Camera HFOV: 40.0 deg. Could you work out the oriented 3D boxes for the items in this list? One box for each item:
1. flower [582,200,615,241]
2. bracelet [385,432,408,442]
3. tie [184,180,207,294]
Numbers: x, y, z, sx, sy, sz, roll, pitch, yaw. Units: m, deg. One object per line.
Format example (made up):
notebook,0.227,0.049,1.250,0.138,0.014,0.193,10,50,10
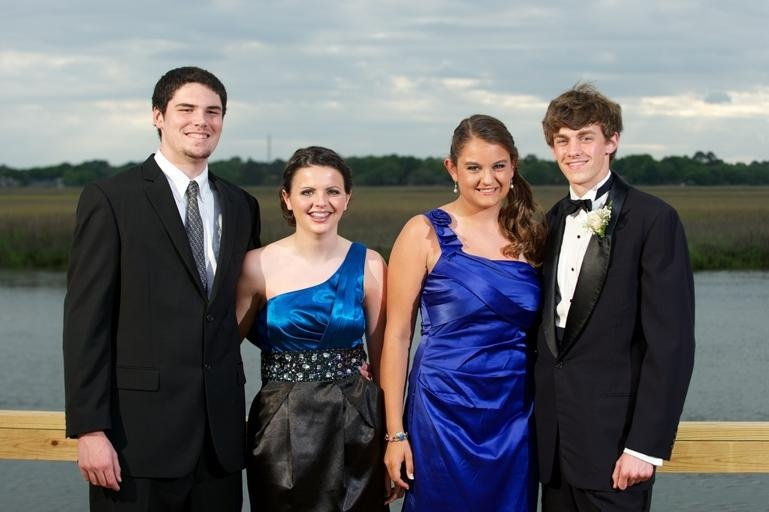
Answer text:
flower,1.883,-0.296,9.382,0.222,0.185,0.376,7,11,18
bracelet,0.103,1.628,9.584,0.124,0.064,0.104,-2,-1,22
tie,-1.629,-0.163,9.202,0.167,0.971,0.102,2,-10,-18
